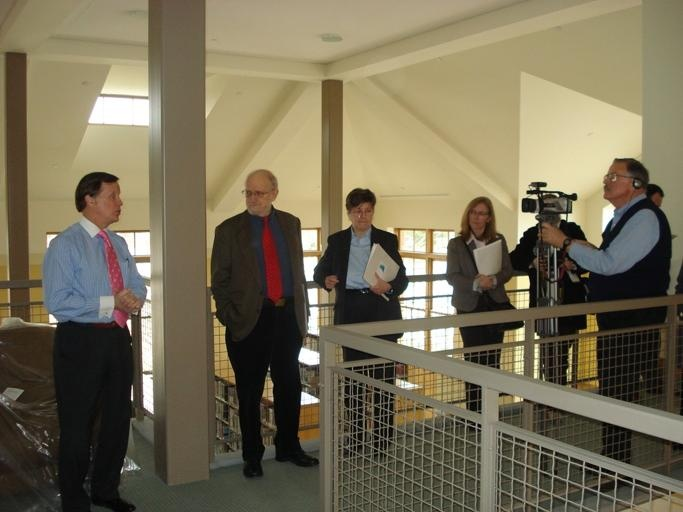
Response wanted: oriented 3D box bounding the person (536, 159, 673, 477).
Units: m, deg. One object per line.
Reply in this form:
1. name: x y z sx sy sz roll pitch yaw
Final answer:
1. person: 1.598 0.300 3.171 0.734 1.471 0.569 1 1 -15

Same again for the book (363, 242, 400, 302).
1. book: 0.260 0.077 3.660 0.263 0.268 0.072 45 -14 -33

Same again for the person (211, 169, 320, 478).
1. person: -0.488 0.425 3.557 0.690 1.941 0.355 1 1 -14

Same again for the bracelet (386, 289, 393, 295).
1. bracelet: 0.328 0.242 3.753 0.025 0.032 0.070 2 7 -2

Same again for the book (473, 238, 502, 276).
1. book: 1.068 0.016 4.025 0.217 0.226 0.030 -18 27 -16

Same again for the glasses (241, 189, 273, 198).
1. glasses: -0.569 -0.396 3.483 0.228 0.054 0.125 2 2 34

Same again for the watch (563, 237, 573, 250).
1. watch: 1.308 -0.071 3.221 0.057 0.060 0.055 -9 10 -27

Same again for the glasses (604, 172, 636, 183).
1. glasses: 1.621 -0.456 3.212 0.106 0.031 0.106 8 3 0

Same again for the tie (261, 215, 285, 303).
1. tie: -0.449 0.017 3.496 0.130 0.540 0.108 2 1 42

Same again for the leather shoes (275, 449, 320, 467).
1. leather shoes: -0.288 1.330 3.710 0.287 0.128 0.109 0 -3 19
